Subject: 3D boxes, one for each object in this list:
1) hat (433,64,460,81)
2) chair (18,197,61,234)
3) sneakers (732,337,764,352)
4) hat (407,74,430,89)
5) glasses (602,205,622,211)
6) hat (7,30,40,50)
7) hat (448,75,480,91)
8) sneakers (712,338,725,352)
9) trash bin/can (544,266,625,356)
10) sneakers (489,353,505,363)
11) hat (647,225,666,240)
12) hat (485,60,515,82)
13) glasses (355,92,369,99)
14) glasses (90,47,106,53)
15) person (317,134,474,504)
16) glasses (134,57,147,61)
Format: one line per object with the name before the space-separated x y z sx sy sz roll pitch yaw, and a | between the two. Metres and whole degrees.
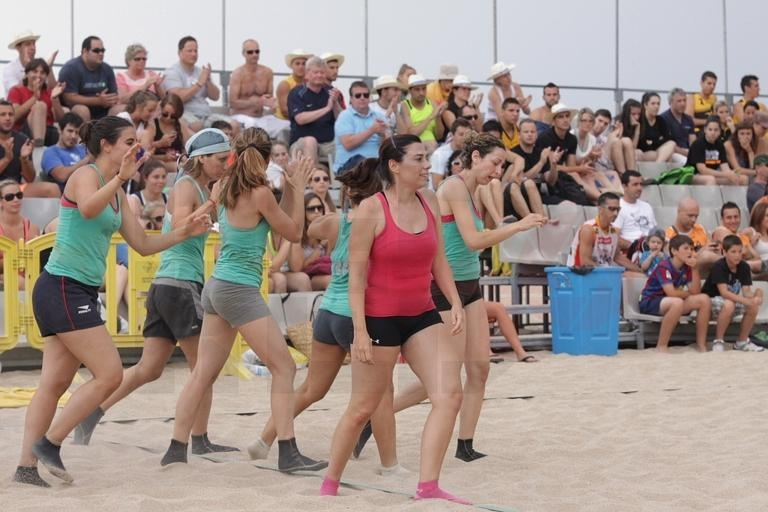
hat | 1.147 -3.191 22.391 0.285 0.158 0.329 4 4 30
chair | -5.079 -0.644 18.381 0.611 0.377 0.406 -6 9 -23
sneakers | 5.365 1.305 18.946 0.457 0.182 0.167 1 -2 1
hat | 0.526 -2.959 21.449 0.356 0.107 0.345 -9 -3 -10
glasses | 3.285 -0.702 18.587 0.168 0.050 0.163 3 -2 -19
hat | -5.842 -3.403 20.675 0.364 0.089 0.345 -18 5 32
hat | 1.346 -2.969 21.821 0.347 0.124 0.370 5 -5 -41
sneakers | 4.909 1.288 18.854 0.165 0.160 0.344 1 3 12
trash bin/can | 2.886 0.801 18.576 1.398 1.433 1.214 2 -6 -25
sneakers | 1.623 1.417 18.045 0.321 0.103 0.101 -3 0 -31
hat | 4.105 -0.357 19.402 0.223 0.152 0.229 12 13 42
hat | 2.026 -3.331 23.411 0.546 0.166 0.479 -25 6 20
glasses | -0.335 -2.503 20.055 0.264 0.098 0.077 -2 4 -33
glasses | -4.539 -3.259 20.425 0.105 0.099 0.328 1 3 10
person | 0.140 0.612 13.197 1.339 3.705 0.674 0 4 0
glasses | -4.033 -3.238 21.143 0.103 0.028 0.107 -6 -1 45
